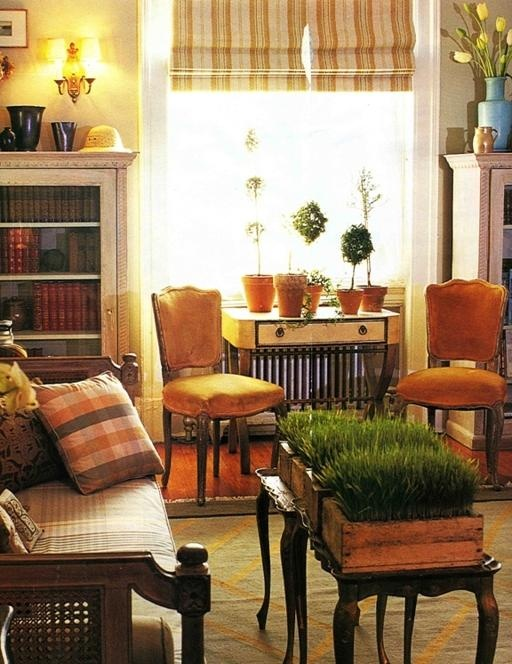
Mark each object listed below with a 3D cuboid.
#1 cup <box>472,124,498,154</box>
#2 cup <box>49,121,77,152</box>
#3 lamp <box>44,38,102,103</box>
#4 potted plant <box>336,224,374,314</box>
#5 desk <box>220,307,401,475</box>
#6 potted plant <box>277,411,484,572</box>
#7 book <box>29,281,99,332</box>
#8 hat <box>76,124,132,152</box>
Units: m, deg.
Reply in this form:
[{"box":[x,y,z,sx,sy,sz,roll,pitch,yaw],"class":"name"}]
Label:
[{"box":[1.262,-1.059,4.174,0.121,0.182,0.231,2,6,18],"class":"cup"},{"box":[-1.034,-1.054,4.132,0.166,0.175,0.165,2,2,0],"class":"cup"},{"box":[-1.029,-1.450,4.149,0.350,0.404,0.127,-2,5,-14],"class":"lamp"},{"box":[0.528,-0.337,4.056,0.181,0.471,0.394,1,5,7],"class":"potted plant"},{"box":[0.282,0.211,4.134,1.062,0.967,0.609,-2,6,-20],"class":"desk"},{"box":[0.272,0.322,1.507,0.250,0.167,0.349,-2,5,-10],"class":"potted plant"},{"box":[-1.035,-0.137,4.161,0.375,0.354,0.267,0,2,-2],"class":"book"},{"box":[-0.808,-1.003,4.032,0.192,0.091,0.194,9,14,43],"class":"hat"}]
